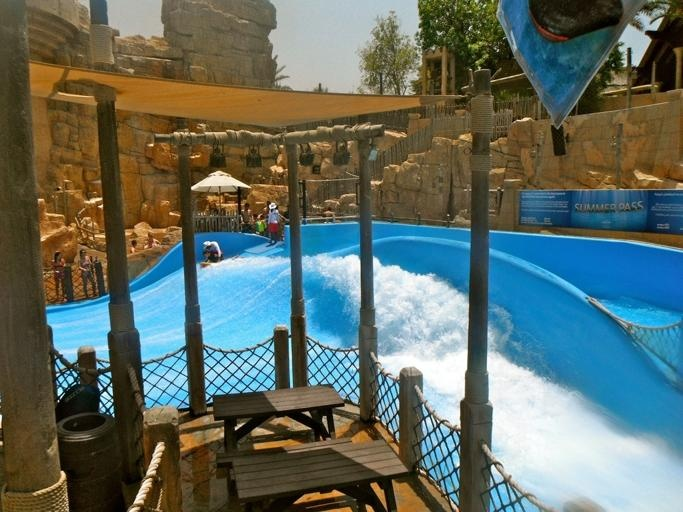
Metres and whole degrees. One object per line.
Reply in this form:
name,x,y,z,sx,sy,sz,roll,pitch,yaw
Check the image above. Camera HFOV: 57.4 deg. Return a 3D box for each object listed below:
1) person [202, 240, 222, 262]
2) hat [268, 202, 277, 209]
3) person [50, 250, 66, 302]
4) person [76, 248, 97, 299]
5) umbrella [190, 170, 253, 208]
person,-4.139,-0.109,20.112,0.739,1.031,0.535,-2,-2,-12
hat,-2.290,-1.667,20.994,0.461,0.165,0.508,5,4,9
person,-7.584,0.506,16.746,0.289,1.328,1.123,-7,10,-25
person,-7.099,0.506,17.476,0.393,1.352,1.322,-6,10,-22
umbrella,-4.056,-2.372,21.122,2.447,1.333,2.662,-2,4,-6
